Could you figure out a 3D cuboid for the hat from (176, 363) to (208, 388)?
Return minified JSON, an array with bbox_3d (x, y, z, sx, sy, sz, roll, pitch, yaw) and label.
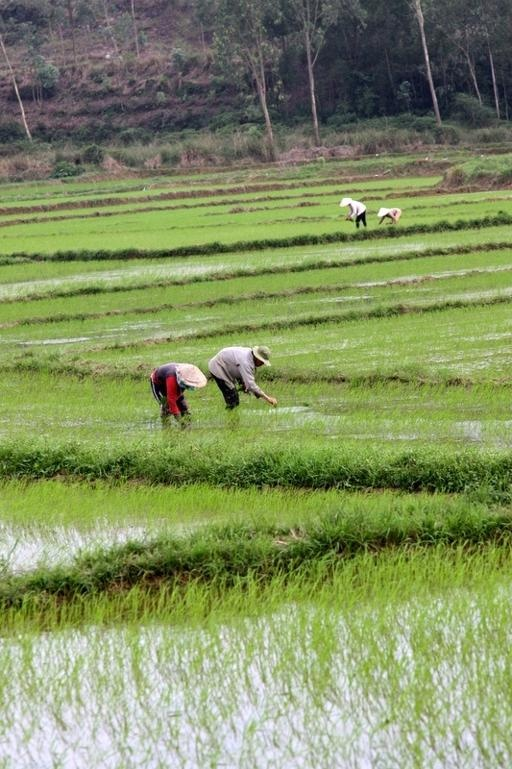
[{"bbox_3d":[-0.893,-0.078,17.498,0.277,0.312,0.669,-13,17,-42],"label":"hat"}]
